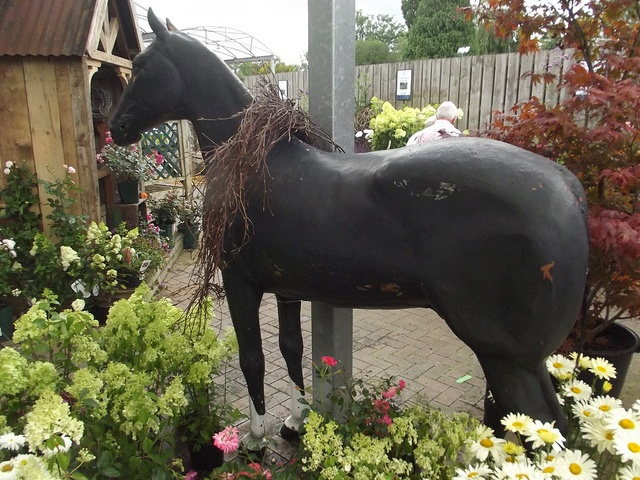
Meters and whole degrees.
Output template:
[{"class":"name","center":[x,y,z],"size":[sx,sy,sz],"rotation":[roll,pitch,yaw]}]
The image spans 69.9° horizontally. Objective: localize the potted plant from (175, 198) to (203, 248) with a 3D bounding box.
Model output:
[{"class":"potted plant","center":[-1.803,-0.216,6.309],"size":[0.285,0.640,0.415],"rotation":[-1,2,12]}]

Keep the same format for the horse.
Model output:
[{"class":"horse","center":[-0.027,0.090,2.247],"size":[2.265,1.866,0.690],"rotation":[10,15,10]}]

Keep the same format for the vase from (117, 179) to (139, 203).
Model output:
[{"class":"vase","center":[-2.200,-0.581,5.338],"size":[0.248,0.263,0.239],"rotation":[4,14,11]}]

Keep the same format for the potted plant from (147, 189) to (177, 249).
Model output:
[{"class":"potted plant","center":[-2.222,-0.324,6.663],"size":[0.392,0.700,0.463],"rotation":[4,0,43]}]
